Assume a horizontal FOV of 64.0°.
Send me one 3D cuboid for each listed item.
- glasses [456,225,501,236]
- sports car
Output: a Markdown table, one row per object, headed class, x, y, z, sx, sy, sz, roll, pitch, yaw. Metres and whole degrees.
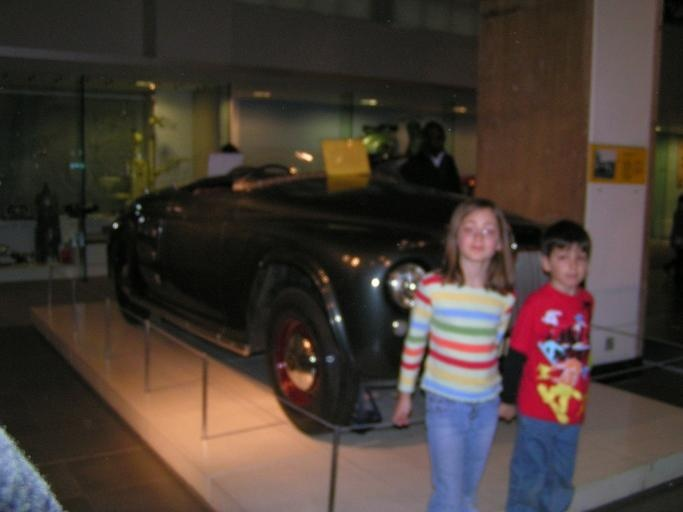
| class | x | y | z | sx | sy | sz | roll | pitch | yaw |
| --- | --- | --- | --- | --- | --- | --- | --- | --- | --- |
| glasses | 0.565 | -0.098 | 2.230 | 0.157 | 0.037 | 0.044 | 2 | 10 | -2 |
| sports car | -0.500 | 0.148 | 4.000 | 1.549 | 1.049 | 2.878 | -3 | 5 | -38 |
